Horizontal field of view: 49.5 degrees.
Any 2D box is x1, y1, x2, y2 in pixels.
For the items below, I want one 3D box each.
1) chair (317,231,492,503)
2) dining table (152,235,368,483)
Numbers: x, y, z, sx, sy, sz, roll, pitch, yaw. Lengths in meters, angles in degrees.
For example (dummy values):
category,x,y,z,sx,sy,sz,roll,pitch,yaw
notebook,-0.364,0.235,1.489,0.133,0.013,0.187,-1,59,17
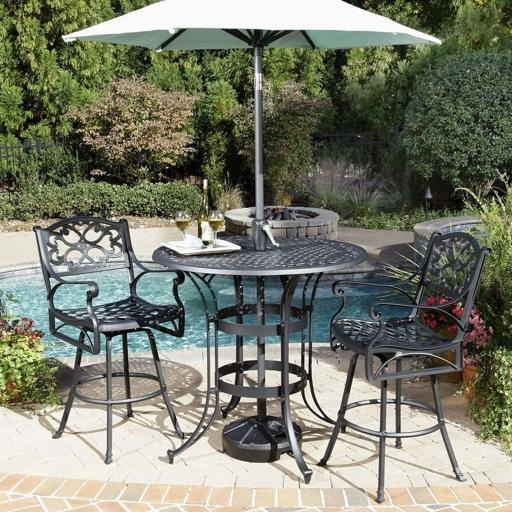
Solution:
category,x,y,z,sx,sy,sz,roll,pitch,yaw
chair,0.694,0.492,2.702,0.795,1.082,0.670,-3,8,3
dining table,0.030,0.517,3.011,1.300,0.999,1.198,-1,3,-23
